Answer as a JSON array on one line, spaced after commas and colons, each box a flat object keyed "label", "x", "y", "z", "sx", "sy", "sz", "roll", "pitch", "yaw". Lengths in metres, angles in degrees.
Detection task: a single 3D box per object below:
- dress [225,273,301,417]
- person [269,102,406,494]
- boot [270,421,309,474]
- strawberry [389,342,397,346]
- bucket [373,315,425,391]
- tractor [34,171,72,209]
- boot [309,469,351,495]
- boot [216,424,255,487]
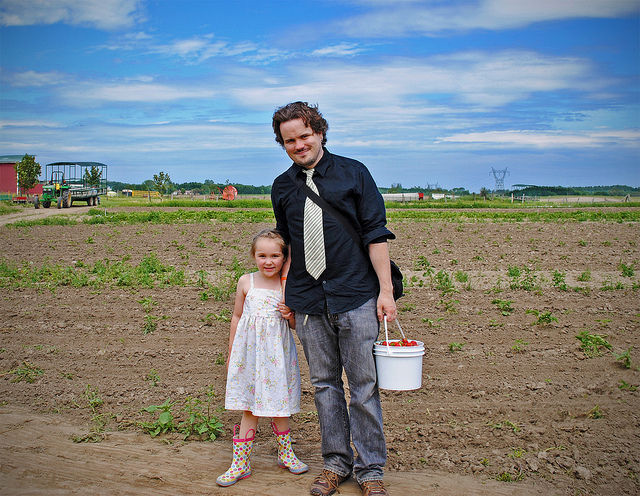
[{"label": "dress", "x": -0.476, "y": 0.783, "z": 4.040, "sx": 0.556, "sy": 1.112, "sz": 0.285, "roll": 0, "pitch": 2, "yaw": 14}, {"label": "person", "x": 0.119, "y": 0.390, "z": 3.869, "sx": 1.023, "sy": 2.992, "sz": 0.432, "roll": 0, "pitch": 2, "yaw": 8}, {"label": "boot", "x": -0.251, "y": 1.644, "z": 4.186, "sx": 0.294, "sy": 0.419, "sz": 0.280, "roll": -1, "pitch": 1, "yaw": -3}, {"label": "strawberry", "x": 0.582, "y": 0.767, "z": 3.943, "sx": 0.045, "sy": 0.016, "sz": 0.049, "roll": -2, "pitch": -1, "yaw": 3}, {"label": "bucket", "x": 0.607, "y": 0.900, "z": 3.849, "sx": 0.387, "sy": 0.386, "sz": 0.170, "roll": 0, "pitch": 1, "yaw": 6}, {"label": "tractor", "x": -17.801, "y": -3.751, "z": 32.882, "sx": 2.037, "sy": 2.524, "sz": 3.054, "roll": -1, "pitch": 1, "yaw": -26}, {"label": "boot", "x": 0.053, "y": 1.802, "z": 3.822, "sx": 0.130, "sy": 0.113, "sz": 0.271, "roll": -1, "pitch": -9, "yaw": 39}, {"label": "boot", "x": -0.676, "y": 1.681, "z": 4.024, "sx": 0.361, "sy": 0.422, "sz": 0.164, "roll": -1, "pitch": 2, "yaw": -45}]
